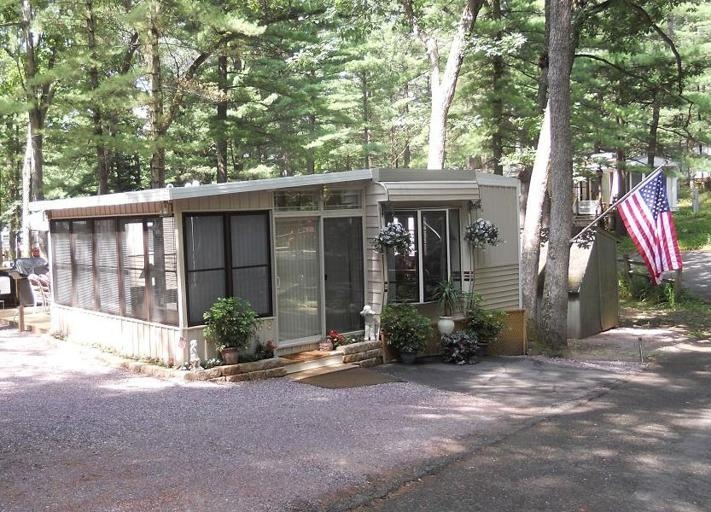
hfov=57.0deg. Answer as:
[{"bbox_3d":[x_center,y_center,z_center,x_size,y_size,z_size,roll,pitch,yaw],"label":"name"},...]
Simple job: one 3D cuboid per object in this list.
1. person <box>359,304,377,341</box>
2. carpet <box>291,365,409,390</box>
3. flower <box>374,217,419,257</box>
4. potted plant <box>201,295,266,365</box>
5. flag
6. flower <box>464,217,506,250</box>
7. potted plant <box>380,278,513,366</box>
[{"bbox_3d":[0.310,1.540,15.549,0.357,0.767,0.518,1,10,1],"label":"person"},{"bbox_3d":[-0.150,2.584,13.906,2.059,0.094,1.205,-2,10,-16],"label":"carpet"},{"bbox_3d":[0.994,-0.426,15.542,0.728,0.924,1.095,8,12,36],"label":"flower"},{"bbox_3d":[-2.567,1.548,13.553,1.087,1.358,0.426,-1,10,-10],"label":"potted plant"},{"bbox_3d":[8.271,-0.846,18.349,1.740,3.208,0.827,-3,10,-20],"label":"flag"},{"bbox_3d":[3.208,-0.526,16.550,0.794,0.850,0.469,-5,-20,-6],"label":"flower"},{"bbox_3d":[1.890,1.760,16.018,2.078,1.812,2.397,-2,5,-32],"label":"potted plant"}]
